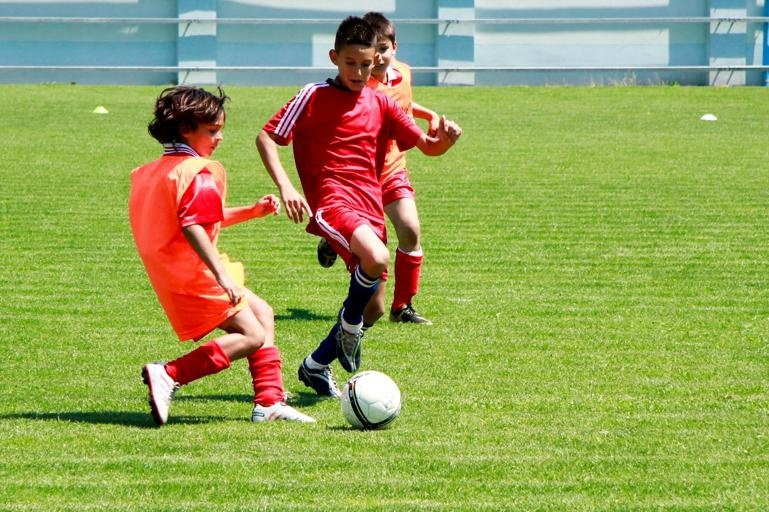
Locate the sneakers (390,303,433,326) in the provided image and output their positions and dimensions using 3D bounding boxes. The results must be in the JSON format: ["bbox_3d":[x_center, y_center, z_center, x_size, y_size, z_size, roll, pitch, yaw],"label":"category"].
[{"bbox_3d":[0.398,0.760,20.823,0.651,0.242,0.212,2,3,4],"label":"sneakers"}]

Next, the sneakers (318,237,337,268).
[{"bbox_3d":[-0.734,-0.053,20.557,0.179,0.441,0.196,1,53,-5],"label":"sneakers"}]
